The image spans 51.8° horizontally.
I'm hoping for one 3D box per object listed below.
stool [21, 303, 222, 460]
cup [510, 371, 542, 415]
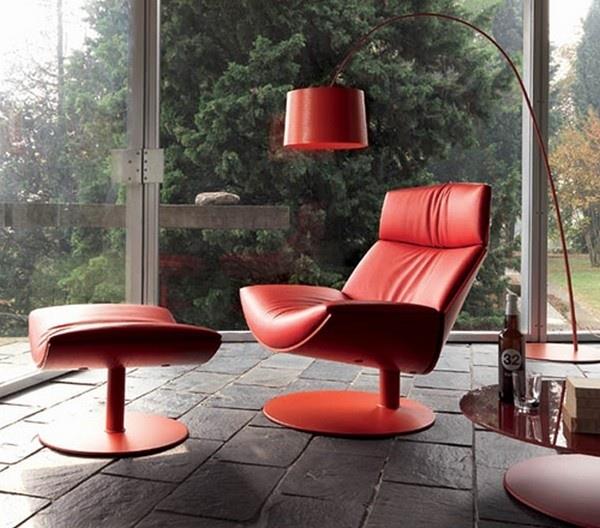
[{"bbox_3d":[-0.640,0.362,2.137,0.457,0.368,0.702,1,2,-21],"label":"stool"},{"bbox_3d":[0.655,0.375,1.822,0.086,0.110,0.091,1,3,0],"label":"cup"}]
